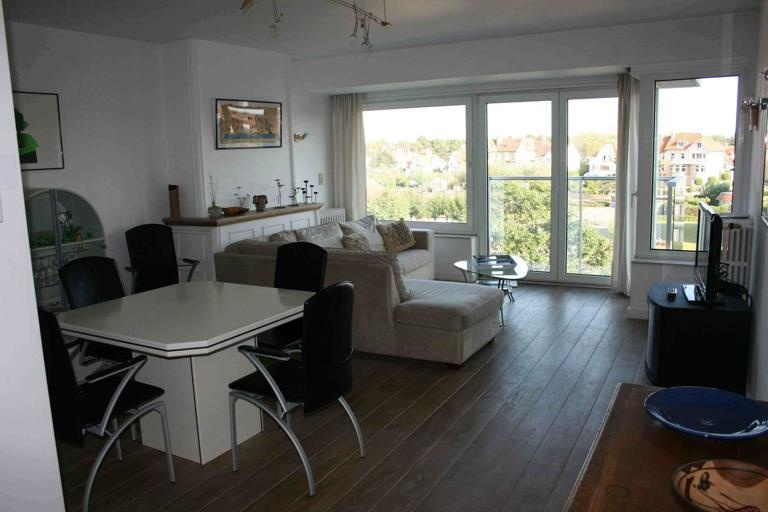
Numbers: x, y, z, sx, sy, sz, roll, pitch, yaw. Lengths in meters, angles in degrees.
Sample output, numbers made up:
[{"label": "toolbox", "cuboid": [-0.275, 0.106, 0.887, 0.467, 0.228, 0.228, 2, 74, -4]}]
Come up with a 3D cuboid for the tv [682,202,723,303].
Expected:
[{"label": "tv", "cuboid": [2.758, -0.032, 4.554, 0.222, 0.640, 0.859, -1, 11, 25]}]

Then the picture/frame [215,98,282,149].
[{"label": "picture/frame", "cuboid": [-1.650, -1.631, 6.505, 0.019, 0.572, 0.971, 19, 23, 38]}]

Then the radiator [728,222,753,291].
[{"label": "radiator", "cuboid": [3.201, -0.008, 4.701, 0.221, 0.565, 0.228, -8, 9, -33]}]

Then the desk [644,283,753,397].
[{"label": "desk", "cuboid": [2.562, 0.663, 4.465, 0.699, 0.761, 0.877, 3, 14, 20]}]

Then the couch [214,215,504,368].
[{"label": "couch", "cuboid": [-0.023, 0.386, 5.103, 1.759, 0.824, 2.012, 3, 8, 22]}]

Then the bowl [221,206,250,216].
[{"label": "bowl", "cuboid": [-1.718, -0.529, 6.152, 0.144, 0.092, 0.343, 3, 9, 36]}]
